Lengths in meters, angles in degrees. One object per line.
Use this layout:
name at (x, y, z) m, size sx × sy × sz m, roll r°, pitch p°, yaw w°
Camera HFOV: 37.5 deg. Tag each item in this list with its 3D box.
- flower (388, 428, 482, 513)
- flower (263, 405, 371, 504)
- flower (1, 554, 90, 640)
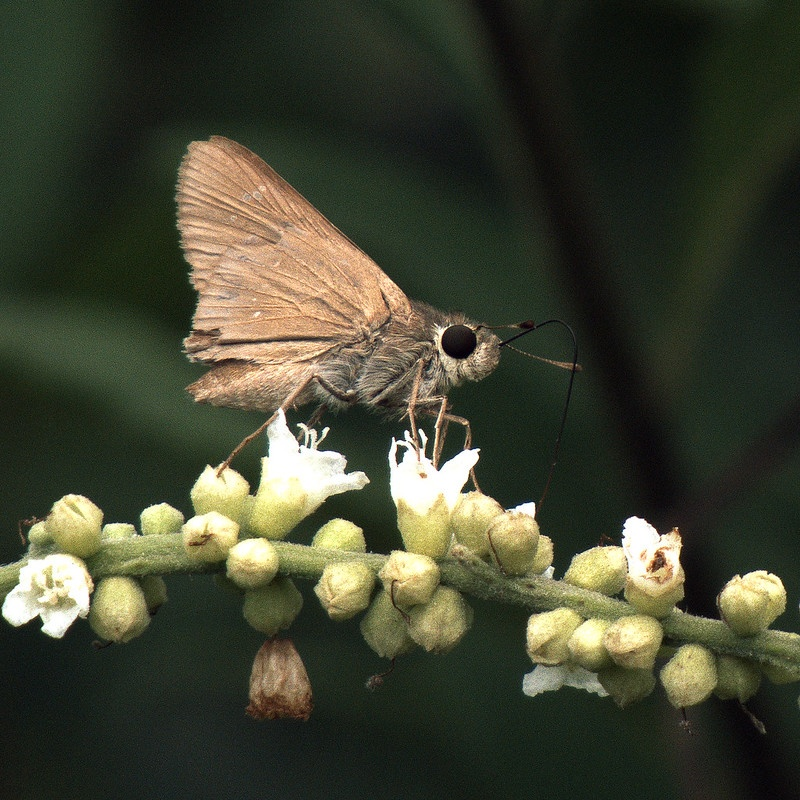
flower at (0.070, 0.162, 2.541) m, size 0.185 × 0.229 × 0.175 m, roll 1°, pitch -29°, yaw -2°
flower at (-0.200, 0.137, 2.642) m, size 0.198 × 0.336 × 0.224 m, roll -1°, pitch -2°, yaw -39°
flower at (-0.719, 0.404, 2.402) m, size 0.175 × 0.161 × 0.103 m, roll 7°, pitch -30°, yaw -13°
